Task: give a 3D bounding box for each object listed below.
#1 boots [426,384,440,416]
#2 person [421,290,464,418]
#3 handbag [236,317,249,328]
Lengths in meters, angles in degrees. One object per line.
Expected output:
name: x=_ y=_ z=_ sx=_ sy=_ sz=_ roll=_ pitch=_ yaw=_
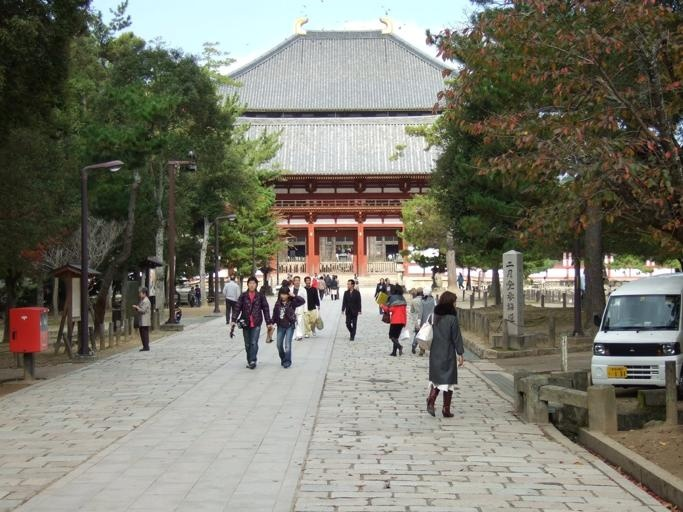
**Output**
boots: x=1.570 y=2.473 z=12.804 sx=0.169 sy=0.541 sz=0.368 roll=1 pitch=25 yaw=14
person: x=1.846 y=1.689 z=13.245 sx=0.631 sy=1.495 sz=1.350 roll=-1 pitch=-1 yaw=7
handbag: x=-2.286 y=1.550 z=17.416 sx=0.217 sy=0.171 sz=0.226 roll=-7 pitch=-4 yaw=-26
